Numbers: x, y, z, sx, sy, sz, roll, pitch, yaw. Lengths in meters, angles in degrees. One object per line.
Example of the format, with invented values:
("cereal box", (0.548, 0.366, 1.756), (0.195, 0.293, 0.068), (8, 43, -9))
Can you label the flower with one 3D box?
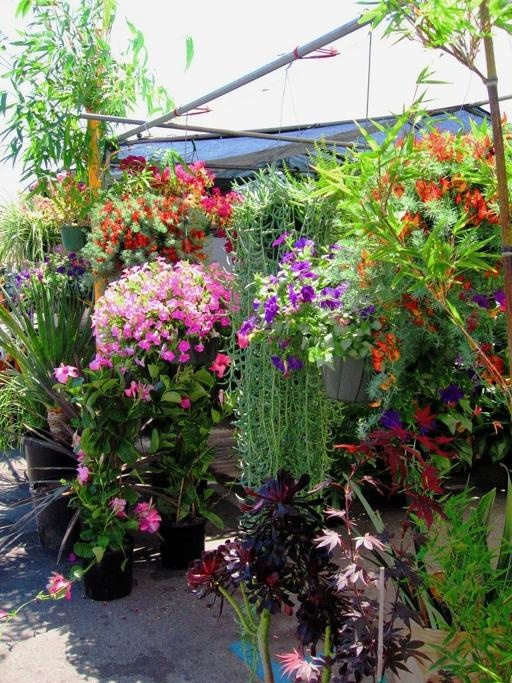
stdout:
("flower", (-0.139, -0.001, 1.645), (1.734, 0.734, 1.273), (-2, 4, 40))
